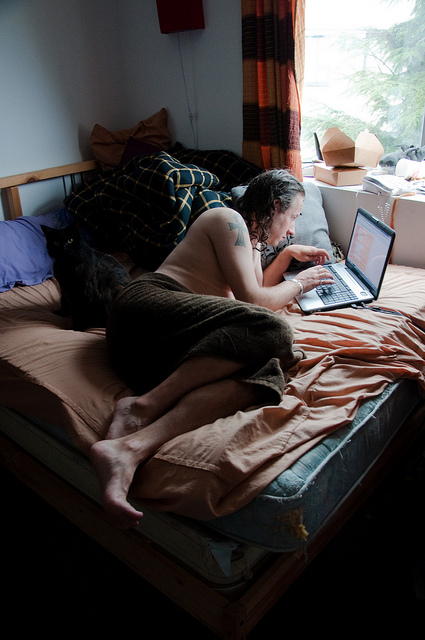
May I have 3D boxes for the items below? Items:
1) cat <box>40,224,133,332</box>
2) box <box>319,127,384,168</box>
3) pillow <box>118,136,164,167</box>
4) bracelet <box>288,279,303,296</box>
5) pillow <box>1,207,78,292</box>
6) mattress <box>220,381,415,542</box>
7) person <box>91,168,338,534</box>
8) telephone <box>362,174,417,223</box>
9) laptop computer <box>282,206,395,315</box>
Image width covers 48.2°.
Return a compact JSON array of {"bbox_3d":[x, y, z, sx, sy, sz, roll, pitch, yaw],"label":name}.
[{"bbox_3d":[-0.417,-0.130,1.545,0.218,0.350,0.318,31,40,28],"label":"cat"},{"bbox_3d":[0.621,-0.746,2.146,0.211,0.142,0.202,-10,18,-39],"label":"box"},{"bbox_3d":[-0.385,-0.950,2.618,0.239,0.058,0.241,33,55,29],"label":"pillow"},{"bbox_3d":[0.276,-0.111,1.578,0.011,0.041,0.042,-34,35,8],"label":"bracelet"},{"bbox_3d":[-0.718,-0.286,1.939,0.308,0.123,0.469,13,35,4],"label":"pillow"},{"bbox_3d":[0.218,0.294,0.917,0.228,0.092,0.458,0,27,45],"label":"mattress"},{"bbox_3d":[0.003,0.008,1.210,0.507,0.308,0.973,6,64,29],"label":"person"},{"bbox_3d":[0.725,-0.531,1.983,0.214,0.079,0.192,-28,46,-29],"label":"telephone"},{"bbox_3d":[0.427,-0.218,1.662,0.341,0.238,0.384,-3,29,11],"label":"laptop computer"}]
